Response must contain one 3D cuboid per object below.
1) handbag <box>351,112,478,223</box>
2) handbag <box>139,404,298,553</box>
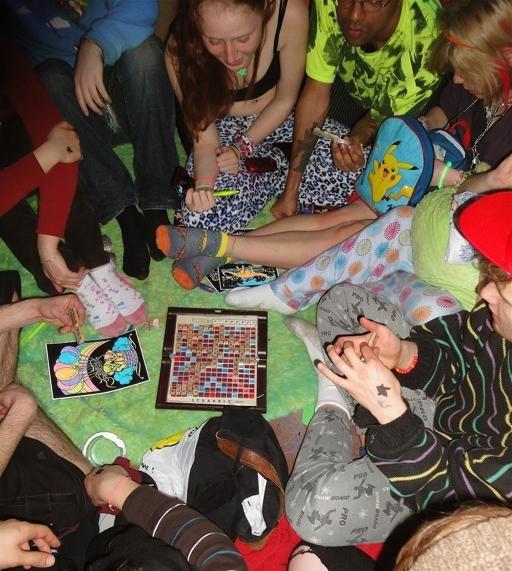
[{"bbox_3d":[0.695,-0.553,2.052,0.143,0.390,0.288,-44,61,-11],"label":"handbag"},{"bbox_3d":[-0.073,0.641,1.647,0.635,0.250,0.449,-11,47,31],"label":"handbag"}]
